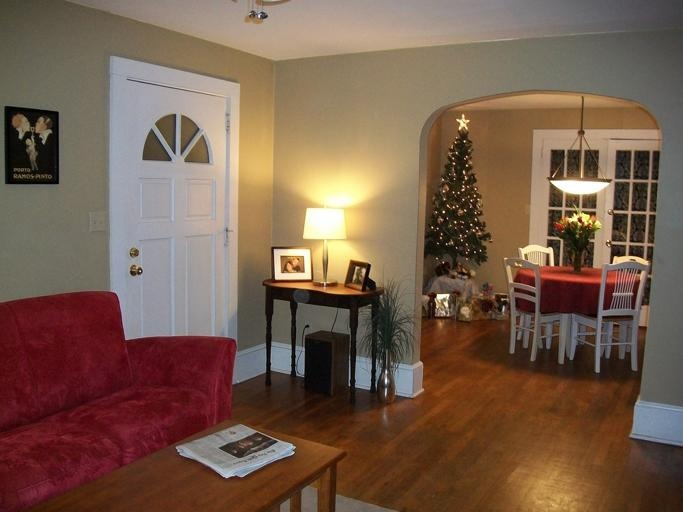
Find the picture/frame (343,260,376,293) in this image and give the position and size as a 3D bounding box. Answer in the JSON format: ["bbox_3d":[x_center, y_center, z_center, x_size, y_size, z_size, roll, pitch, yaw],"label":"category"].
[{"bbox_3d":[0.153,0.184,4.426,0.210,0.357,0.371,1,3,-34],"label":"picture/frame"}]

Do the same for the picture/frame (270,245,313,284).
[{"bbox_3d":[-0.478,0.086,4.665,0.294,0.294,0.034,0,-7,-10],"label":"picture/frame"}]

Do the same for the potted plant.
[{"bbox_3d":[0.432,0.759,4.458,0.343,1.029,0.410,6,9,35],"label":"potted plant"}]

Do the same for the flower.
[{"bbox_3d":[2.924,-0.159,5.976,0.470,0.658,0.531,5,0,11],"label":"flower"}]

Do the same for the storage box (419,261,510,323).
[{"bbox_3d":[1.896,0.516,7.563,1.284,0.785,0.558,4,8,19],"label":"storage box"}]

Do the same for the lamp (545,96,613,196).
[{"bbox_3d":[3.319,-1.539,6.826,0.812,1.351,1.647,5,8,27],"label":"lamp"}]
